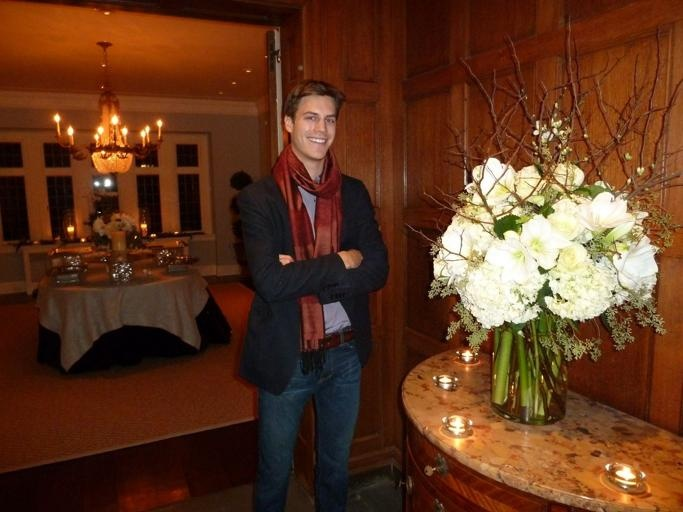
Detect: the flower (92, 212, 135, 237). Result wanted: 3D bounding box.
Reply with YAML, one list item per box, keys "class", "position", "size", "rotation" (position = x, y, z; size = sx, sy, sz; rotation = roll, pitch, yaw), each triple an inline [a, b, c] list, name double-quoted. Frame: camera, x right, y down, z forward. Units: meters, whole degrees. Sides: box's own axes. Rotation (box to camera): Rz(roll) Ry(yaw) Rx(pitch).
- class: "flower"
  position: [-2.424, -0.359, 5.367]
  size: [0.287, 0.112, 0.299]
  rotation: [10, 19, 26]

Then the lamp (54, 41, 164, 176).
- class: "lamp"
  position: [-2.848, -1.820, 6.111]
  size: [1.099, 1.658, 1.072]
  rotation: [-8, 5, -42]

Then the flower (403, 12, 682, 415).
- class: "flower"
  position: [0.824, -0.160, 1.872]
  size: [0.780, 1.544, 0.864]
  rotation: [6, 10, 32]

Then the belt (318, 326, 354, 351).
- class: "belt"
  position: [-0.027, 0.389, 2.352]
  size: [0.135, 0.038, 0.077]
  rotation: [-19, 11, -30]

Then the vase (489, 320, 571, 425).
- class: "vase"
  position: [0.704, 0.412, 1.910]
  size: [0.224, 0.379, 0.233]
  rotation: [1, -4, -6]
